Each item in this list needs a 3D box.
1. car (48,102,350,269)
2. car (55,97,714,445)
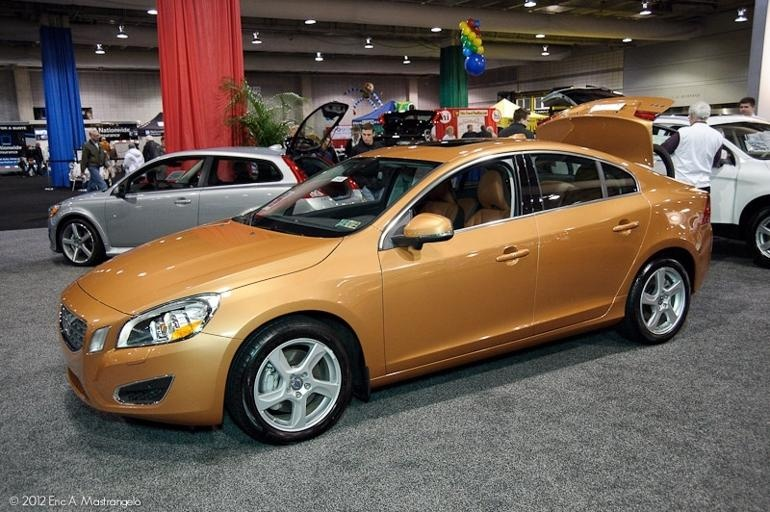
[{"bbox_3d":[-3.023,-1.190,8.108,5.564,2.807,2.396,1,8,3],"label":"car"},{"bbox_3d":[0.310,0.011,4.145,5.078,1.940,2.339,-4,12,-20],"label":"car"}]
